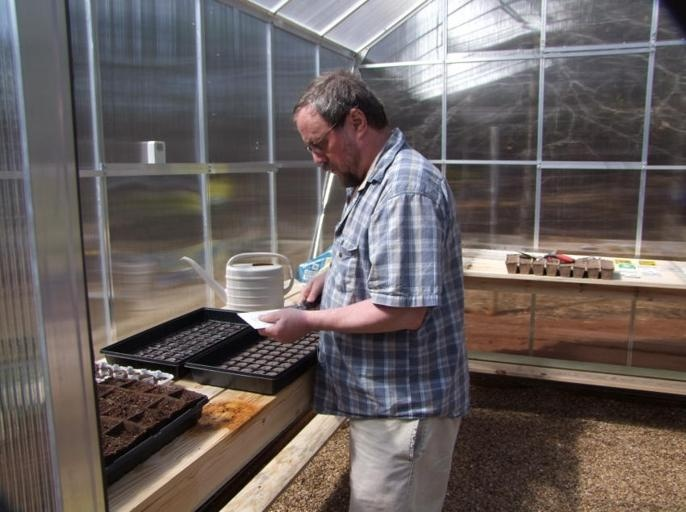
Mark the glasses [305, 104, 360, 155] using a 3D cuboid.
[{"bbox_3d":[-0.041,-0.389,1.596,0.145,0.043,0.105,-36,1,-6],"label":"glasses"}]

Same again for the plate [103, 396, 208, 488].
[{"bbox_3d":[-0.509,0.509,1.393,0.326,0.063,0.319,-32,8,-35],"label":"plate"}]
